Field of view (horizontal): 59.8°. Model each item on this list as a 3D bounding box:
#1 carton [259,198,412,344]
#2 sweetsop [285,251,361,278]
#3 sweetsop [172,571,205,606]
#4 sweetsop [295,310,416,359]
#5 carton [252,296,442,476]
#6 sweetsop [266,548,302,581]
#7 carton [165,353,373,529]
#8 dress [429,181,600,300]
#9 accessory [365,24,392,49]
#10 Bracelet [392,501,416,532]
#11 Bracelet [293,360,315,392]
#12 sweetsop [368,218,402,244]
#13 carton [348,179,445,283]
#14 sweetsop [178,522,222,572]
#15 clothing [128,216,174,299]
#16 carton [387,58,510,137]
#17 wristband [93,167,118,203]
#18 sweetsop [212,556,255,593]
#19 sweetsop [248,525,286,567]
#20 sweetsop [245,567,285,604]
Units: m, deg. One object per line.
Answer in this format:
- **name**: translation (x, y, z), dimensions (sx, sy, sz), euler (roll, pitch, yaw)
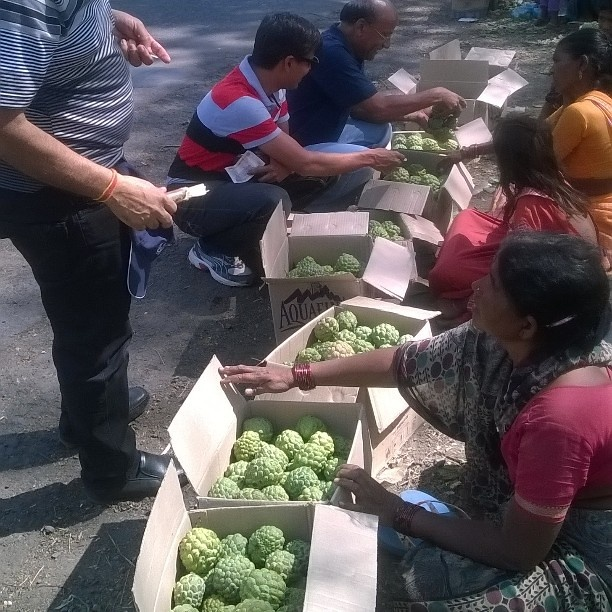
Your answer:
- **carton**: translation (0.302, -0.208, 3.401), dimensions (0.986, 0.621, 0.878), euler (0, 57, 6)
- **sweetsop**: translation (0.172, -0.240, 3.344), dimensions (0.360, 0.160, 0.228), euler (-7, 4, 7)
- **sweetsop**: translation (-0.384, 0.898, 1.725), dimensions (0.092, 0.093, 0.103), euler (10, 16, 8)
- **sweetsop**: translation (0.289, 0.162, 2.728), dimensions (0.373, 0.117, 0.322), euler (-14, 5, 32)
- **carton**: translation (0.220, 0.363, 2.562), dimensions (0.823, 0.304, 0.886), euler (19, 43, 26)
- **sweetsop**: translation (-0.055, 0.827, 1.753), dimensions (0.099, 0.083, 0.086), euler (20, 35, 11)
- **carton**: translation (-0.110, 0.445, 2.060), dimensions (0.664, 0.412, 0.677), euler (1, 30, 7)
- **dress**: translation (1.324, -0.325, 3.227), dimensions (0.750, 0.344, 0.745), euler (-3, 40, 46)
- **accessory**: translation (0.666, -2.172, 4.322), dimensions (0.043, 0.155, 0.152), euler (-2, 19, 40)
- **Bracelet**: translation (0.358, 0.677, 1.707), dimensions (0.074, 0.053, 0.091), euler (25, -7, 0)
- **Bracelet**: translation (0.008, 0.278, 2.107), dimensions (0.101, 0.098, 0.083), euler (0, 2, 2)
- **sweetsop**: translation (0.628, -0.508, 3.721), dimensions (0.241, 0.131, 0.190), euler (9, 53, 14)
- **carton**: translation (0.790, -0.624, 3.897), dimensions (0.810, 0.286, 0.766), euler (19, 54, 1)
- **sweetsop**: translation (-0.361, 0.802, 1.821), dimensions (0.130, 0.145, 0.144), euler (-1, 29, -5)
- **clothing**: translation (-0.659, -0.193, 2.104), dimensions (0.081, 0.297, 0.189), euler (3, -2, 14)
- **carton**: translation (1.849, -2.313, 6.000), dimensions (1.142, 0.755, 1.074), euler (4, 36, 9)
- **wristband**: translation (-0.656, -0.386, 1.705), dimensions (0.022, 0.084, 0.092), euler (27, 55, -14)
- **sweetsop**: translation (-0.235, 0.871, 1.714), dimensions (0.122, 0.103, 0.114), euler (7, 57, -10)
- **sweetsop**: translation (-0.129, 0.797, 1.831), dimensions (0.123, 0.138, 0.061), euler (44, 13, 0)
- **sweetsop**: translation (-0.116, 0.859, 1.666), dimensions (0.095, 0.091, 0.105), euler (1, -1, -18)
